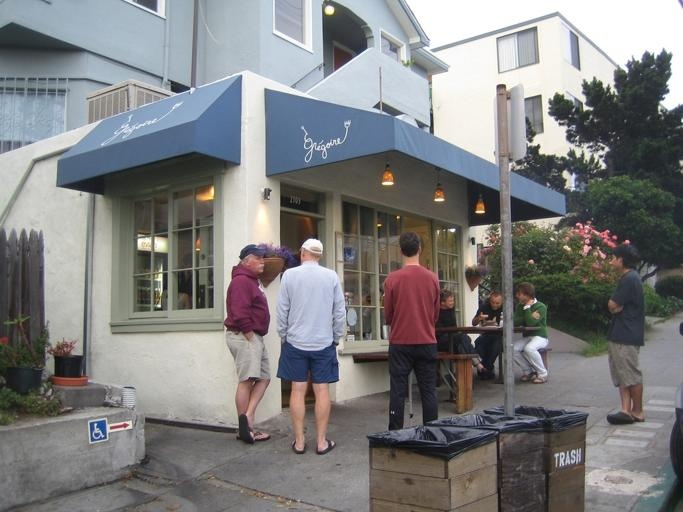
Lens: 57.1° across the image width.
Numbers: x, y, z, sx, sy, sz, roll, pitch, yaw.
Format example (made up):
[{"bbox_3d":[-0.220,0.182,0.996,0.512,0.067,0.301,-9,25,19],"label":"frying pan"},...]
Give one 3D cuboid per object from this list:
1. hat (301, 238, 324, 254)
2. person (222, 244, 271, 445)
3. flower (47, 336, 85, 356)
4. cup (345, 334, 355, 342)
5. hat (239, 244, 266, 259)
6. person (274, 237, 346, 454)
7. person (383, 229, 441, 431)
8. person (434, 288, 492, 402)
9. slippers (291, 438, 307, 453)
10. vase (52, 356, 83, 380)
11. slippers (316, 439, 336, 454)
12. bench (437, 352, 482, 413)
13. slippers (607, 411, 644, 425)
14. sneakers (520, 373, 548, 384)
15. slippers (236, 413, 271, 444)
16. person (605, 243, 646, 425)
[{"bbox_3d":[-0.358,-0.130,7.404,0.162,0.140,0.228,7,1,-18],"label":"hat"},{"bbox_3d":[-1.161,0.934,7.620,0.456,2.124,0.518,0,5,25],"label":"person"},{"bbox_3d":[-3.877,1.267,8.866,0.544,0.257,0.543,-1,-3,4],"label":"flower"},{"bbox_3d":[0.128,1.249,9.629,0.091,0.148,0.144,-10,-12,37],"label":"cup"},{"bbox_3d":[-1.095,-0.060,7.693,0.253,0.146,0.202,-21,1,-2],"label":"hat"},{"bbox_3d":[-0.348,1.002,7.153,0.781,2.358,0.608,-2,5,1],"label":"person"},{"bbox_3d":[0.775,0.842,6.894,0.594,2.197,0.676,-1,5,9],"label":"person"},{"bbox_3d":[1.924,1.450,9.932,1.024,1.412,1.566,-6,-9,34],"label":"person"},{"bbox_3d":[-0.481,2.142,7.088,0.152,0.113,0.196,-3,5,-5],"label":"slippers"},{"bbox_3d":[-3.280,1.321,7.488,0.261,0.216,0.242,3,-4,-44],"label":"vase"},{"bbox_3d":[-0.166,2.132,7.054,0.090,0.087,0.205,1,3,26],"label":"slippers"},{"bbox_3d":[1.783,1.799,8.893,0.503,0.792,0.784,-5,-10,10],"label":"bench"},{"bbox_3d":[3.497,1.977,7.709,0.473,0.159,0.181,5,-16,-10],"label":"slippers"},{"bbox_3d":[3.231,2.069,10.590,0.471,0.203,0.171,-10,-9,39],"label":"sneakers"},{"bbox_3d":[-1.051,2.043,7.385,0.177,0.264,0.628,-2,-8,15],"label":"slippers"},{"bbox_3d":[3.538,0.959,7.771,0.423,2.208,0.718,1,5,26],"label":"person"}]
